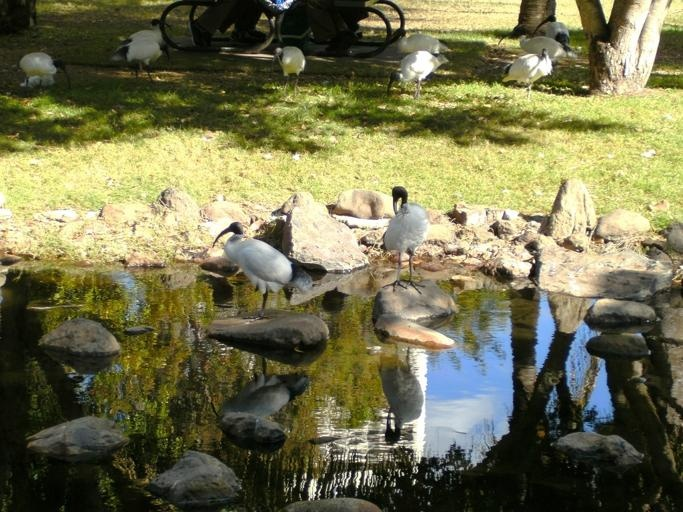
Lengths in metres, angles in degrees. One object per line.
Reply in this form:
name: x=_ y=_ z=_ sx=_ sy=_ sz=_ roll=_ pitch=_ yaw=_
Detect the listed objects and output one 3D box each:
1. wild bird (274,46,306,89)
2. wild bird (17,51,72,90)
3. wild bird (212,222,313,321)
wild bird: x=-0.984 y=-3.616 z=18.114 sx=0.574 sy=0.704 sz=1.080 roll=3 pitch=14 yaw=29
wild bird: x=-5.516 y=-3.408 z=17.330 sx=0.994 sy=0.542 sz=0.418 roll=11 pitch=14 yaw=-14
wild bird: x=-1.022 y=0.256 z=12.237 sx=1.154 sy=0.919 sz=0.544 roll=9 pitch=16 yaw=22
